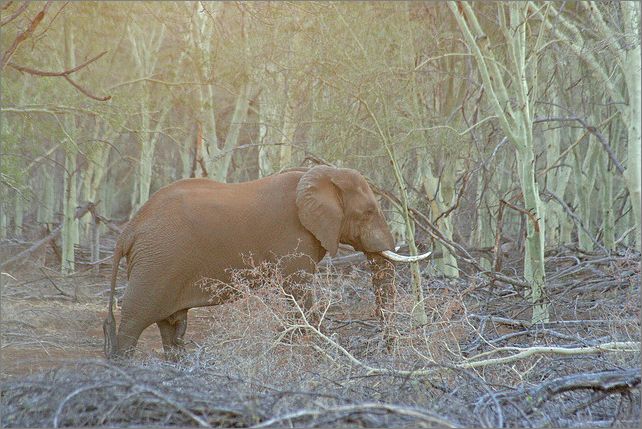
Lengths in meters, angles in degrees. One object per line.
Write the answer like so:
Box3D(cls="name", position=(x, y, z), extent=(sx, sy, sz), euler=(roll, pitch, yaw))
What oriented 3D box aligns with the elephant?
Box3D(cls="elephant", position=(-0.915, 0.746, 12.011), extent=(4.912, 3.261, 1.954), euler=(-6, 14, -18))
